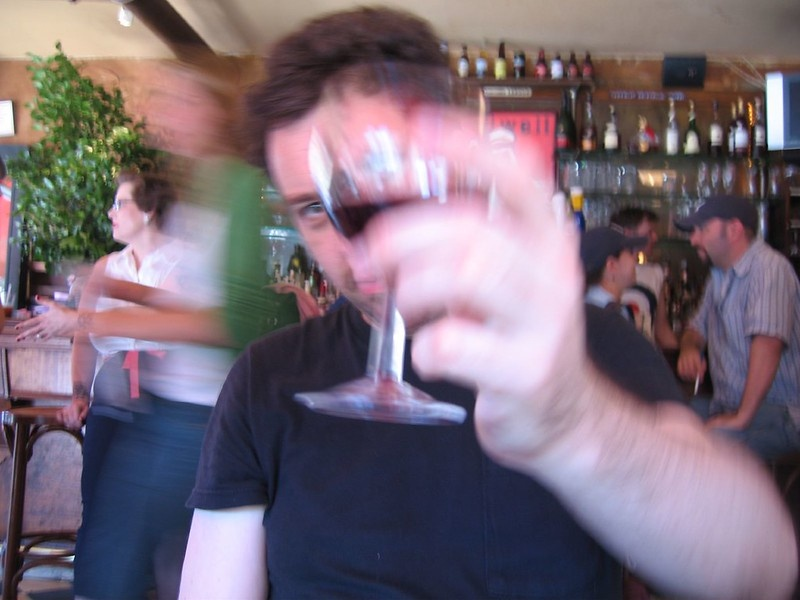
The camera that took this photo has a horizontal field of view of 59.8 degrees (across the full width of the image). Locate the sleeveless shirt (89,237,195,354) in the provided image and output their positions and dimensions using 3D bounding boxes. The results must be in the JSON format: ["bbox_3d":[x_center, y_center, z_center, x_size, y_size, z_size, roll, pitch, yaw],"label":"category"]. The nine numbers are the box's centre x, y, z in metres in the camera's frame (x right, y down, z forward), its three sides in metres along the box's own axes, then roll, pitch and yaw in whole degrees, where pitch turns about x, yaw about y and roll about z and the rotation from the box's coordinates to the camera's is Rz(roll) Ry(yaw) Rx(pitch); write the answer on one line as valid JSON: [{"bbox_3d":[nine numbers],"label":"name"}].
[{"bbox_3d":[-0.569,-0.004,1.546,0.206,0.318,0.167,-5,-11,25],"label":"sleeveless shirt"}]

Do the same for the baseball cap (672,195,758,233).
[{"bbox_3d":[1.281,-0.350,2.825,0.285,0.157,0.197,10,7,29],"label":"baseball cap"}]
